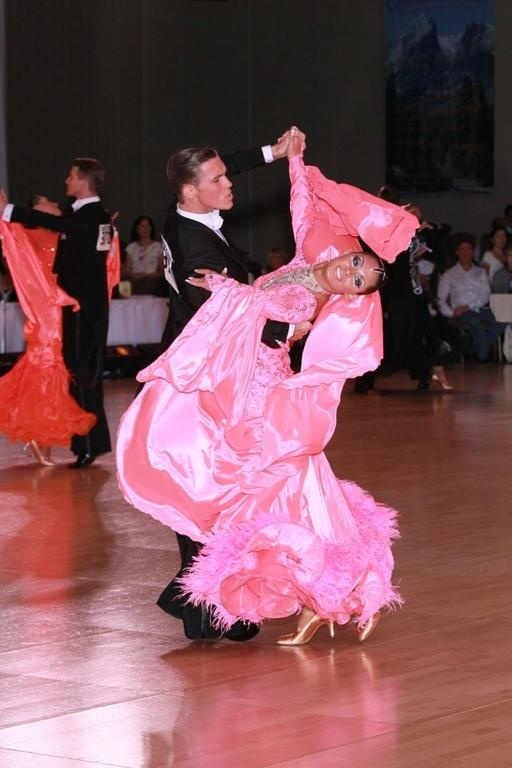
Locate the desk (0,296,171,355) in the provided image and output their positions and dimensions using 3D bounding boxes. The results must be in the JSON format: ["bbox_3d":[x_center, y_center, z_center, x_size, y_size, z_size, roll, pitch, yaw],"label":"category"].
[{"bbox_3d":[-1.942,-0.588,8.771,1.011,0.391,1.590,0,1,41],"label":"desk"}]

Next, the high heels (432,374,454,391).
[{"bbox_3d":[2.126,-0.004,8.691,0.131,0.101,0.321,-26,-28,18],"label":"high heels"}]

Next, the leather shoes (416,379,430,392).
[{"bbox_3d":[1.842,0.016,8.417,0.150,0.136,0.110,7,7,41],"label":"leather shoes"}]

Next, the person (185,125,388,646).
[{"bbox_3d":[0.093,0.131,2.004,0.533,1.286,0.680,0,15,5],"label":"person"}]

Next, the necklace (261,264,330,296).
[{"bbox_3d":[0.092,-0.264,1.883,0.139,0.044,0.078,-12,28,-15],"label":"necklace"}]
